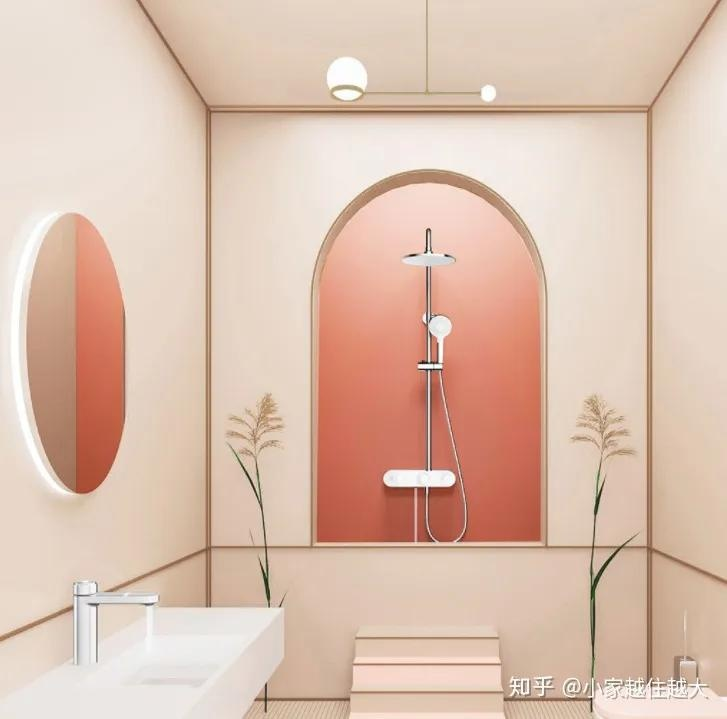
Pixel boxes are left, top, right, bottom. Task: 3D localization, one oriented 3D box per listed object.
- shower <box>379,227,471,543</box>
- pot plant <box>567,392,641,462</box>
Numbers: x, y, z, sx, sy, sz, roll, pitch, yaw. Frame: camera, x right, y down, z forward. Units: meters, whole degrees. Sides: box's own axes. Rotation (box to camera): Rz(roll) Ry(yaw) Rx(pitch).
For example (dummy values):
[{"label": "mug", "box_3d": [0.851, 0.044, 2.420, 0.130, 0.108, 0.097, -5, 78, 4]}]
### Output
[{"label": "shower", "box_3d": [0.312, 0.206, 3.448, 0.433, 1.412, 0.211, 1, -4, 8]}, {"label": "pot plant", "box_3d": [1.070, 0.298, 3.113, 0.265, 0.310, 0.239, 1, -3, -11]}]
